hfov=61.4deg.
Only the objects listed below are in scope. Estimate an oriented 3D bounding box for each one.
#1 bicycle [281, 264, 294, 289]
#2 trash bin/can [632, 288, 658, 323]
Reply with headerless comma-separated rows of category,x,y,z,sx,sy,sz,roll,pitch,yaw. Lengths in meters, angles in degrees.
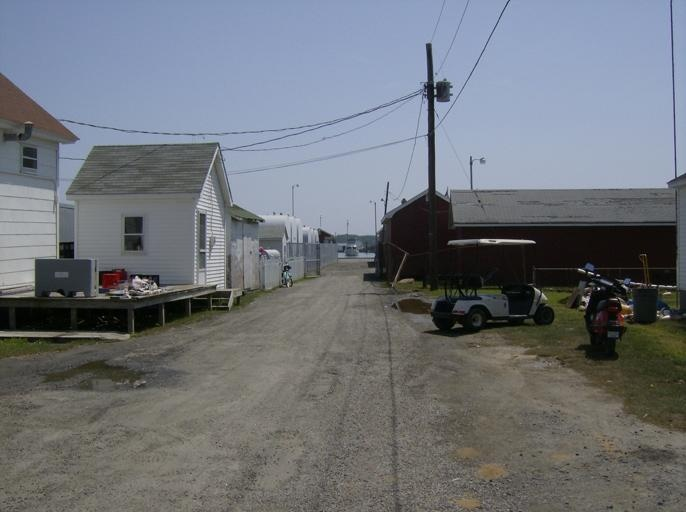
bicycle,-3.103,1.104,32.025,0.590,0.732,1.122,1,6,4
trash bin/can,8.156,1.327,15.600,0.618,0.886,0.590,-1,-3,30
